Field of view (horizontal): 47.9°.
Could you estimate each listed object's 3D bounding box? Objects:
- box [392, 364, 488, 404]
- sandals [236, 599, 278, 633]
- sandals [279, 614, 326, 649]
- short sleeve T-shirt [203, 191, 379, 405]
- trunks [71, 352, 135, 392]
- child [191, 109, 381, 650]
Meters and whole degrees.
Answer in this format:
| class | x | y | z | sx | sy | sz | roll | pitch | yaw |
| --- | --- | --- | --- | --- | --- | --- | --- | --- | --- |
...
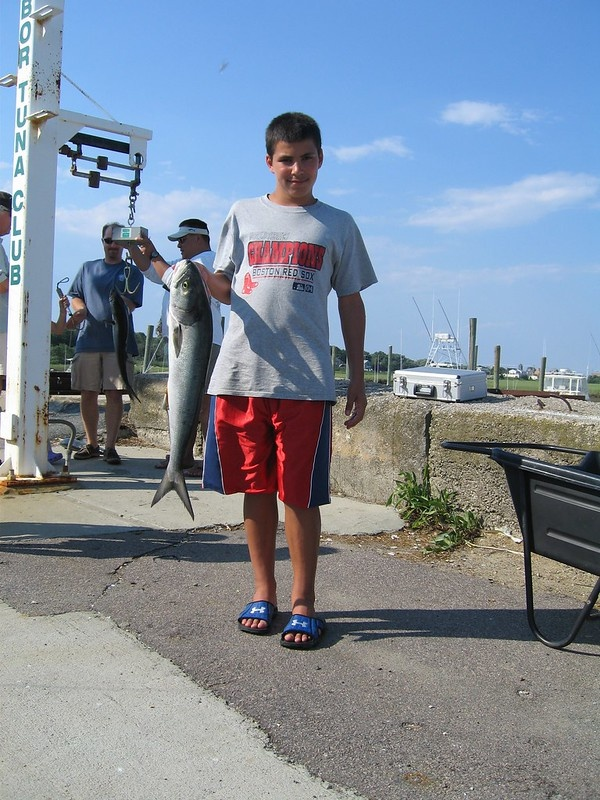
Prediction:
| class | x | y | z | sx | sy | sz | roll | pitch | yaw |
| --- | --- | --- | --- | --- | --- | --- | --- | --- | --- |
| box | 0.970 | -0.110 | 4.631 | 0.642 | 0.223 | 0.368 | 4 | 3 | 7 |
| sandals | -0.158 | 0.789 | 2.468 | 0.130 | 0.084 | 0.143 | 3 | 3 | -4 |
| sandals | 0.017 | 0.805 | 2.380 | 0.124 | 0.081 | 0.202 | 4 | 4 | 15 |
| short sleeve T-shirt | -0.071 | -0.391 | 2.573 | 0.565 | 0.761 | 0.455 | 5 | 4 | 24 |
| trunks | -1.705 | -0.231 | 5.737 | 0.557 | 0.426 | 0.310 | 1 | -4 | -14 |
| child | -0.060 | -0.118 | 2.495 | 0.669 | 1.902 | 0.585 | 1 | -3 | 7 |
